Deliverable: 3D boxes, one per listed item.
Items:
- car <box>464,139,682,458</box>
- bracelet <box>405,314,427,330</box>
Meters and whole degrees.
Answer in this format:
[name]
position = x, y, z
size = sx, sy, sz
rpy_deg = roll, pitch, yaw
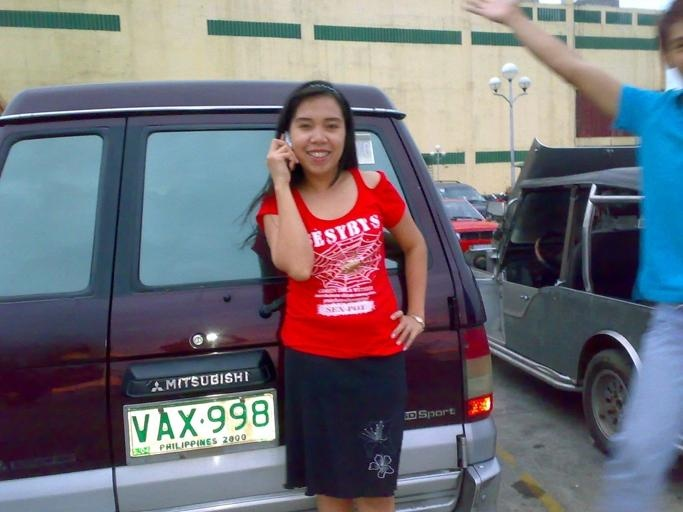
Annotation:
[car]
position = 1.660, 0.075, 5.175
size = 1.314, 1.506, 2.419
rpy_deg = -6, 18, -21
[bracelet]
position = 0.319, 0.282, 2.789
size = 0.027, 0.070, 0.059
rpy_deg = -27, -12, 26
